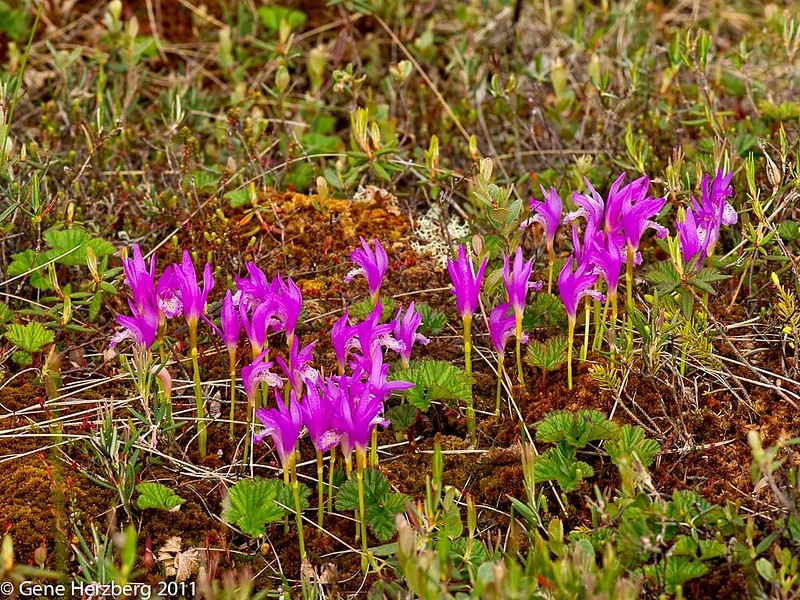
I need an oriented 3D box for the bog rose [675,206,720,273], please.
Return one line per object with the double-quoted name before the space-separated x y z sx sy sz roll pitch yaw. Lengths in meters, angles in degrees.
"bog rose" 1.302 -0.286 3.563 0.215 0.294 0.220 5 8 23
